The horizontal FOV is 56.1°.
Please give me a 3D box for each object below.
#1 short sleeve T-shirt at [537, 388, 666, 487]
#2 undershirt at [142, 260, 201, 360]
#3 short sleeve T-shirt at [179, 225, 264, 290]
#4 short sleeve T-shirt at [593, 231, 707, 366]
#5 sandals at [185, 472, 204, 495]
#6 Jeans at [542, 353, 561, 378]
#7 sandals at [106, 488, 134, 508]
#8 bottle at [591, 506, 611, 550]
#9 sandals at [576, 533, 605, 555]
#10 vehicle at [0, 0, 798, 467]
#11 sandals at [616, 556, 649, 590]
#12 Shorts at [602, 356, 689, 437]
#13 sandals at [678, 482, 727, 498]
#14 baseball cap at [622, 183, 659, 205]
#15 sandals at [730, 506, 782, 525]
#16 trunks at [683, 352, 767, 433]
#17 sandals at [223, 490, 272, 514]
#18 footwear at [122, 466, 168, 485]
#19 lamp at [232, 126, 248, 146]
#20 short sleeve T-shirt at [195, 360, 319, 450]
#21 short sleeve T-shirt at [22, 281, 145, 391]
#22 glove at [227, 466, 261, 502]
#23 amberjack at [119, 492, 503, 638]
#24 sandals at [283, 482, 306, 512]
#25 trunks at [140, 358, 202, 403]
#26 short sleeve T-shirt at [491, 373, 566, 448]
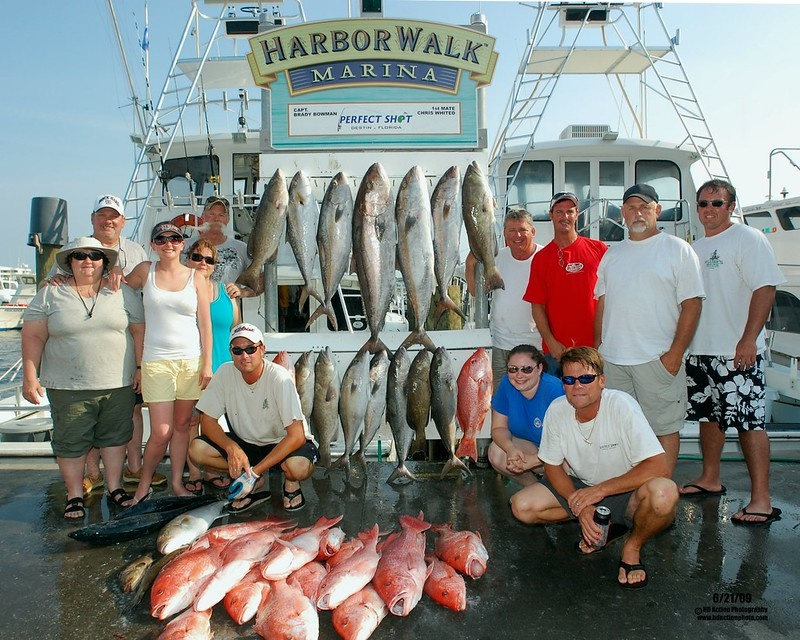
[{"bbox_3d":[1.409,0.833,5.297,0.871,0.708,0.408,-5,2,36],"label":"short sleeve T-shirt"},{"bbox_3d":[-1.827,-0.054,5.989,0.460,0.869,0.320,1,-2,-21],"label":"undershirt"},{"bbox_3d":[-1.713,-0.405,6.870,0.779,0.787,0.444,5,-33,-26],"label":"short sleeve T-shirt"},{"bbox_3d":[1.911,-0.133,5.666,0.938,1.089,0.553,2,2,44],"label":"short sleeve T-shirt"},{"bbox_3d":[-1.678,1.333,6.085,0.136,0.114,0.395,1,-4,-18],"label":"sandals"},{"bbox_3d":[1.210,0.370,5.988,0.082,0.208,0.043,-17,16,-39],"label":"Jeans"},{"bbox_3d":[-2.183,1.375,5.818,0.106,0.101,0.261,3,-1,-45],"label":"sandals"},{"bbox_3d":[1.329,1.385,4.996,0.120,0.318,0.129,-2,15,0],"label":"bottle"},{"bbox_3d":[1.280,1.527,5.066,0.159,0.058,0.090,0,6,18],"label":"sandals"},{"bbox_3d":[0.337,-1.782,9.902,7.011,3.347,7.350,-1,3,3],"label":"vehicle"},{"bbox_3d":[1.493,1.623,4.786,0.176,0.136,0.151,1,4,16],"label":"sandals"},{"bbox_3d":[1.829,0.491,5.921,0.473,0.837,0.825,-2,-1,-19],"label":"Shorts"},{"bbox_3d":[2.357,1.342,5.836,0.341,0.090,0.140,-4,6,8],"label":"sandals"},{"bbox_3d":[1.864,-0.961,5.726,0.150,0.122,0.223,3,2,31],"label":"baseball cap"},{"bbox_3d":[2.571,1.423,5.399,0.312,0.075,0.143,-7,14,-4],"label":"sandals"},{"bbox_3d":[2.480,0.511,5.784,0.348,0.606,0.594,-7,7,-32],"label":"trunks"},{"bbox_3d":[-1.184,1.384,5.785,0.123,0.098,0.346,5,3,38],"label":"sandals"},{"bbox_3d":[-2.178,1.329,6.382,0.394,0.181,0.151,1,6,-6],"label":"footwear"},{"bbox_3d":[-1.982,-2.254,9.175,0.181,0.173,0.363,-1,4,-12],"label":"lamp"},{"bbox_3d":[-1.138,0.667,5.831,0.632,0.507,0.212,3,23,6],"label":"short sleeve T-shirt"},{"bbox_3d":[-2.488,0.096,5.938,0.946,0.880,0.528,-1,-2,-30],"label":"short sleeve T-shirt"},{"bbox_3d":[-1.157,1.212,5.532,0.271,0.148,0.084,-39,-12,-33],"label":"glove"},{"bbox_3d":[-0.898,1.590,4.779,1.349,0.544,0.923,-2,4,-23],"label":"amberjack"},{"bbox_3d":[-0.826,1.361,5.729,0.160,0.125,0.448,-1,6,-9],"label":"sandals"},{"bbox_3d":[-1.789,0.467,5.878,0.518,0.406,0.296,-1,-4,-25],"label":"trunks"},{"bbox_3d":[0.982,0.698,5.660,0.526,0.552,0.286,1,14,40],"label":"short sleeve T-shirt"}]
